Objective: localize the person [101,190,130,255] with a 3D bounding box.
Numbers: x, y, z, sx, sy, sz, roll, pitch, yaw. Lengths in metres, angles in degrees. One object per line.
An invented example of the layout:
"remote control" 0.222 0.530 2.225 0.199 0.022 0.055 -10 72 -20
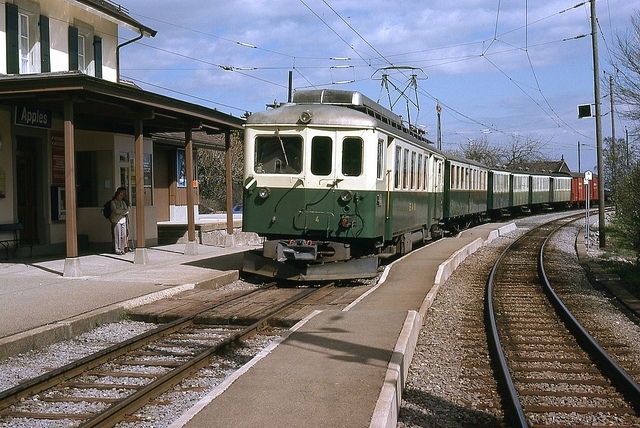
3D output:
"person" -5.771 0.212 16.130 0.500 1.822 0.586 -2 2 -34
